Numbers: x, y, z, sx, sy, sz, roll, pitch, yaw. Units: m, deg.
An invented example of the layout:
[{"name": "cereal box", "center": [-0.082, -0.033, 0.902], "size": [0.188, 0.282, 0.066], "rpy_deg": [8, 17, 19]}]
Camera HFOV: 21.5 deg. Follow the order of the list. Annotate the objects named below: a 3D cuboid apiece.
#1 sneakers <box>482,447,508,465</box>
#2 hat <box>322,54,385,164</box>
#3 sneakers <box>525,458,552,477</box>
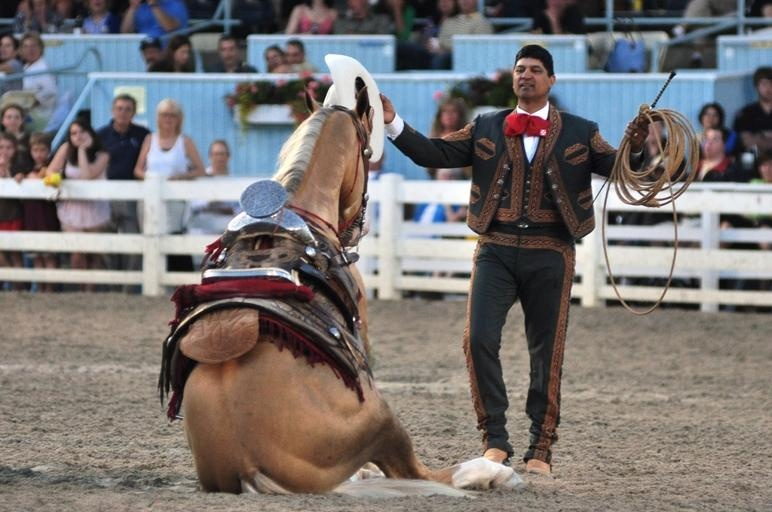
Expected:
[{"name": "sneakers", "center": [0.815, 1.522, 15.227], "size": [0.176, 0.108, 0.071], "rpy_deg": [10, -17, -26]}, {"name": "hat", "center": [-0.241, -1.101, 15.339], "size": [0.208, 0.773, 0.520], "rpy_deg": [-12, 5, -35]}, {"name": "sneakers", "center": [1.142, 1.604, 15.245], "size": [0.197, 0.107, 0.126], "rpy_deg": [1, 11, 4]}]
